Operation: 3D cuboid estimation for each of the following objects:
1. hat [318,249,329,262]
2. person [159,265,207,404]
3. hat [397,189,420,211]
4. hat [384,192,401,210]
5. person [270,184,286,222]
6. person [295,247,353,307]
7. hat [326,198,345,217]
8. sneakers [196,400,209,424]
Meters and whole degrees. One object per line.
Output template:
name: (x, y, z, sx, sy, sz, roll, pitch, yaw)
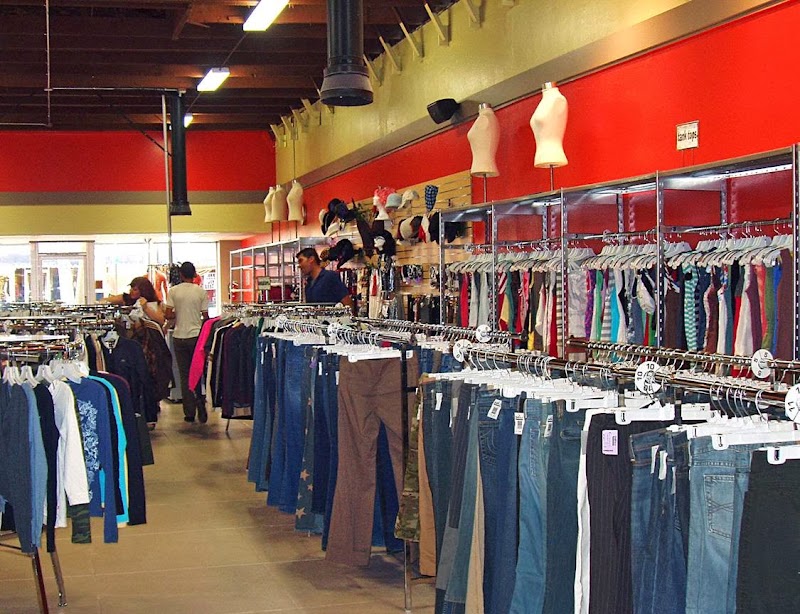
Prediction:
hat: (-1.093, -0.740, 11.665, 0.140, 0.184, 0.212, -7, -42, -9)
person: (-2.557, 0.434, 9.761, 0.485, 1.953, 0.804, -1, 3, -20)
hat: (0.097, -1.305, 9.927, 0.179, 0.121, 0.282, -33, 7, -26)
hat: (-0.089, -1.332, 10.270, 0.156, 0.180, 0.204, 0, 9, -7)
person: (-2.298, -1.963, 15.385, 0.264, 0.647, 0.767, -1, 3, -7)
person: (-0.799, -0.326, 8.547, 0.541, 0.583, 0.710, 0, 3, -5)
hat: (-0.916, -1.444, 11.782, 0.154, 0.253, 0.536, -2, 4, -24)
sneakers: (-2.374, 1.253, 9.773, 0.085, 0.302, 0.193, -1, 2, -6)
